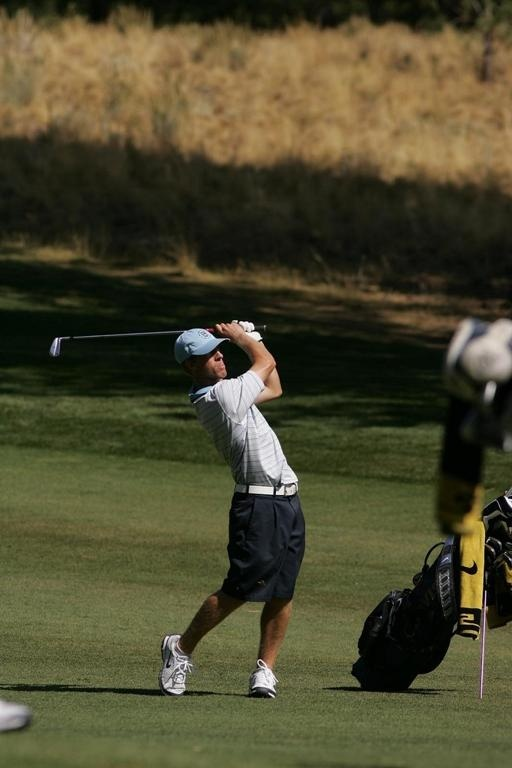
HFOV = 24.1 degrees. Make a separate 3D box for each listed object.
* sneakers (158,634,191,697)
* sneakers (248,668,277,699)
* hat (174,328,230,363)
[{"bbox_3d":[-0.287,0.974,4.165,0.080,0.099,0.202,8,53,-25],"label":"sneakers"},{"bbox_3d":[0.016,1.018,4.076,0.103,0.223,0.092,1,79,-1],"label":"sneakers"},{"bbox_3d":[-0.217,-0.137,4.411,0.171,0.076,0.123,-19,3,20],"label":"hat"}]
